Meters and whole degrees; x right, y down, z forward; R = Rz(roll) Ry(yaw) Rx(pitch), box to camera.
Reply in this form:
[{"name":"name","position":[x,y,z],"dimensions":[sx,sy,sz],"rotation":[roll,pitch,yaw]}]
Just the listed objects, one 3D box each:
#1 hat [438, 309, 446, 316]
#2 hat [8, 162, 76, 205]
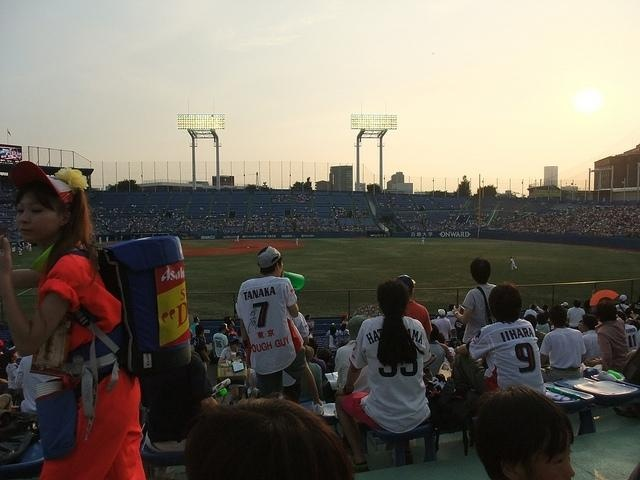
[{"name":"hat","position":[2.244,1.351,12.264],"dimensions":[0.163,0.125,0.219],"rotation":[3,4,10]},{"name":"hat","position":[-1.818,-0.376,4.341],"dimensions":[0.375,0.234,0.305],"rotation":[-2,1,-26]}]
